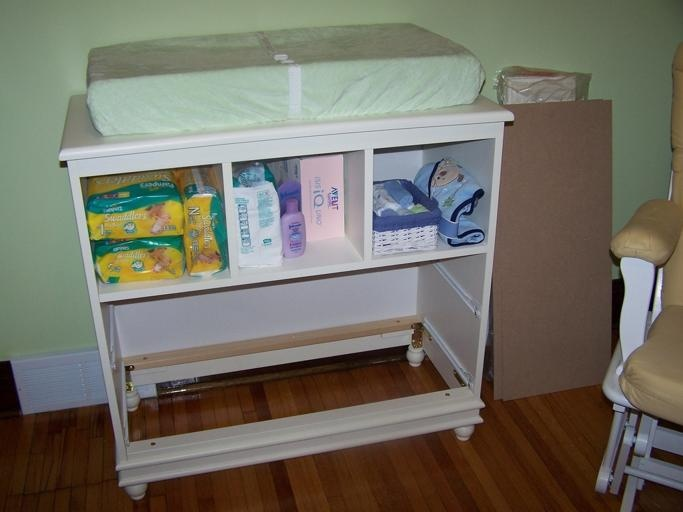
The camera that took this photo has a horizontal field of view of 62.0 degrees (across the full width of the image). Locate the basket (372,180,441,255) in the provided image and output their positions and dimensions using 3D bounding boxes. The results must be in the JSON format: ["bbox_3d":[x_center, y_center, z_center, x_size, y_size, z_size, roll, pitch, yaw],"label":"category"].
[{"bbox_3d":[0.238,-0.151,2.133,0.246,0.192,0.335,-1,23,3],"label":"basket"}]

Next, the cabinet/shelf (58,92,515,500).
[{"bbox_3d":[-0.225,0.163,2.115,1.372,1.207,0.521,-9,38,-11],"label":"cabinet/shelf"}]
